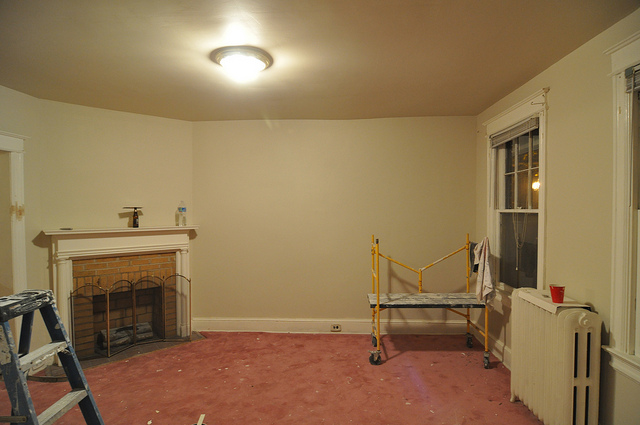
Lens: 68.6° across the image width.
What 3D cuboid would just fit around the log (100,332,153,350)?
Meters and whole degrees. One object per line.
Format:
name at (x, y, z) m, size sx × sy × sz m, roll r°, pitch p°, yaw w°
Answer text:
log at (-2.368, 1.576, 5.779) m, size 0.588 × 0.190 × 0.100 m, roll -2°, pitch -1°, yaw -31°

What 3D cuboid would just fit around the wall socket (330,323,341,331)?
wall socket at (0.210, 1.496, 6.174) m, size 0.143 × 0.104 × 0.080 m, roll 0°, pitch -12°, yaw 0°

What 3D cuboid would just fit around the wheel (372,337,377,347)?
wheel at (0.659, 1.582, 5.719) m, size 0.038 × 0.114 × 0.099 m, roll -3°, pitch -1°, yaw -10°

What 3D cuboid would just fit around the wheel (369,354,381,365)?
wheel at (0.620, 1.678, 5.342) m, size 0.105 × 0.078 × 0.107 m, roll 1°, pitch -3°, yaw 0°

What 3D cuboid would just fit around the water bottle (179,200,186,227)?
water bottle at (-1.767, 0.009, 6.035) m, size 0.087 × 0.359 × 0.224 m, roll -3°, pitch 0°, yaw -14°

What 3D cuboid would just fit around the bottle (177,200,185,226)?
bottle at (-1.788, -0.003, 6.086) m, size 0.106 × 0.340 × 0.109 m, roll -3°, pitch 0°, yaw 0°

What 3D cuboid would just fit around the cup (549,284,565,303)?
cup at (2.169, 0.739, 4.339) m, size 0.132 × 0.147 × 0.145 m, roll 1°, pitch -11°, yaw 0°

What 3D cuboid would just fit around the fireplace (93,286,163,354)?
fireplace at (-2.398, 1.339, 5.788) m, size 0.740 × 0.643 × 0.236 m, roll 4°, pitch -12°, yaw -36°

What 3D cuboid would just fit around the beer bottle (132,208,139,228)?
beer bottle at (-2.277, 0.072, 5.795) m, size 0.064 × 0.233 × 0.146 m, roll -3°, pitch 0°, yaw -27°
